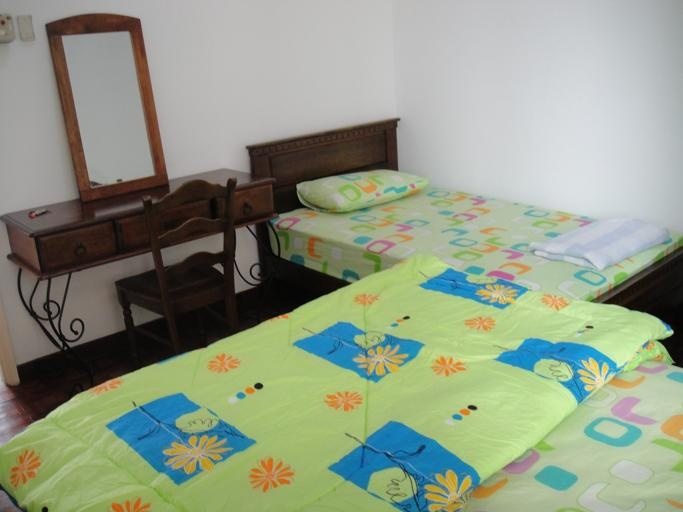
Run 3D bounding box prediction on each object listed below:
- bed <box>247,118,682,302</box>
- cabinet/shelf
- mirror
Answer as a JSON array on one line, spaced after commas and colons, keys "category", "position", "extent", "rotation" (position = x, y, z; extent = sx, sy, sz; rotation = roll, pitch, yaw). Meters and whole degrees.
[{"category": "bed", "position": [0.600, -0.077, 3.284], "extent": [2.086, 0.951, 1.285], "rotation": [19, 35, 34]}, {"category": "cabinet/shelf", "position": [-1.075, 0.118, 2.690], "extent": [1.233, 0.590, 0.430], "rotation": [-22, 35, -39]}, {"category": "mirror", "position": [-1.219, -0.798, 2.845], "extent": [0.636, 0.938, 0.022], "rotation": [1, 15, 22]}]
